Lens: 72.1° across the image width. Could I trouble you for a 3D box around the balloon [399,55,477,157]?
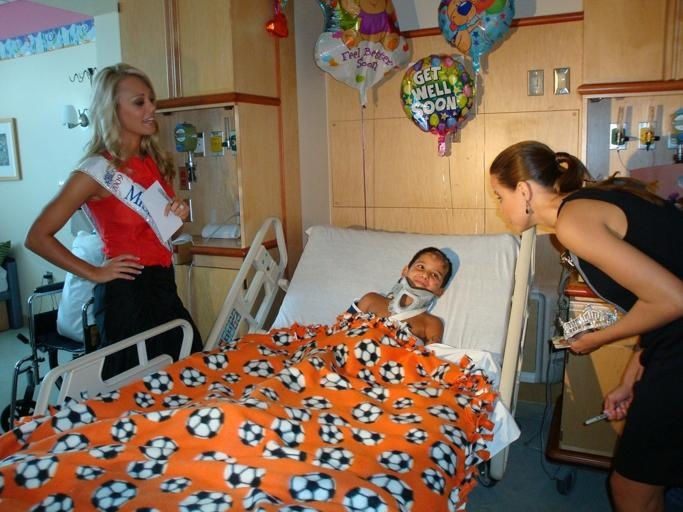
[{"bbox_3d":[0.630,-0.951,2.992,0.445,0.674,0.459,-19,22,-39],"label":"balloon"}]
